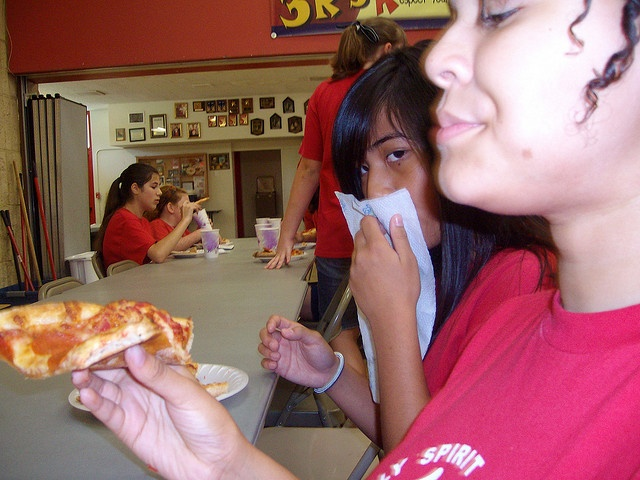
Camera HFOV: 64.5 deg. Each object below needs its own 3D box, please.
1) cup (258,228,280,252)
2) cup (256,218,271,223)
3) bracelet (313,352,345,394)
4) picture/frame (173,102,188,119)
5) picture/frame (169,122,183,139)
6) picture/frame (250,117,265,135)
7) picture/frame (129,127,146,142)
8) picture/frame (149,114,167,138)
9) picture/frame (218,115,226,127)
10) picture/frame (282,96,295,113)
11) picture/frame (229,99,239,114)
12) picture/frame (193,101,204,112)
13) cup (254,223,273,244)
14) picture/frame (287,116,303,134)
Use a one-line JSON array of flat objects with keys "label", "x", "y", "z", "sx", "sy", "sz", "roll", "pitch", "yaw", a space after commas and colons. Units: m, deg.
[{"label": "cup", "x": -0.258, "y": -0.009, "z": 2.599, "sx": 0.108, "sy": 0.126, "sz": 0.105, "roll": 1, "pitch": 12, "yaw": 0}, {"label": "cup", "x": -0.387, "y": -0.123, "z": 3.445, "sx": 0.084, "sy": 0.034, "sz": 0.074, "roll": -2, "pitch": 11, "yaw": 4}, {"label": "bracelet", "x": 0.022, "y": 0.304, "z": 1.120, "sx": 0.017, "sy": 0.082, "sz": 0.080, "roll": 29, "pitch": 9, "yaw": -28}, {"label": "picture/frame", "x": -2.147, "y": -2.009, "z": 7.839, "sx": 0.205, "sy": 0.246, "sz": 0.026, "roll": 4, "pitch": 19, "yaw": 5}, {"label": "picture/frame", "x": -2.236, "y": -1.696, "z": 7.894, "sx": 0.225, "sy": 0.303, "sz": 0.029, "roll": 1, "pitch": 5, "yaw": -2}, {"label": "picture/frame", "x": -0.946, "y": -1.741, "z": 7.738, "sx": 0.217, "sy": 0.346, "sz": 0.033, "roll": 3, "pitch": 10, "yaw": 11}, {"label": "picture/frame", "x": -2.880, "y": -1.669, "z": 8.011, "sx": 0.195, "sy": 0.191, "sz": 0.018, "roll": 2, "pitch": 11, "yaw": 1}, {"label": "picture/frame", "x": -2.530, "y": -1.793, "z": 7.946, "sx": 0.314, "sy": 0.475, "sz": 0.050, "roll": 2, "pitch": 6, "yaw": 8}, {"label": "picture/frame", "x": -1.500, "y": -1.835, "z": 7.804, "sx": 0.142, "sy": 0.221, "sz": 0.027, "roll": 0, "pitch": 8, "yaw": -3}, {"label": "picture/frame", "x": -0.469, "y": -2.050, "z": 7.644, "sx": 0.190, "sy": 0.291, "sz": 0.021, "roll": 0, "pitch": 23, "yaw": -4}, {"label": "picture/frame", "x": -1.305, "y": -2.044, "z": 7.713, "sx": 0.163, "sy": 0.248, "sz": 0.025, "roll": 8, "pitch": 28, "yaw": 10}, {"label": "picture/frame", "x": -1.863, "y": -2.060, "z": 7.799, "sx": 0.143, "sy": 0.136, "sz": 0.021, "roll": 8, "pitch": 34, "yaw": 0}, {"label": "cup", "x": -0.322, "y": -0.020, "z": 2.772, "sx": 0.113, "sy": 0.129, "sz": 0.109, "roll": -1, "pitch": 7, "yaw": 0}, {"label": "picture/frame", "x": -0.386, "y": -1.768, "z": 7.744, "sx": 0.226, "sy": 0.355, "sz": 0.032, "roll": -1, "pitch": 5, "yaw": -3}]
